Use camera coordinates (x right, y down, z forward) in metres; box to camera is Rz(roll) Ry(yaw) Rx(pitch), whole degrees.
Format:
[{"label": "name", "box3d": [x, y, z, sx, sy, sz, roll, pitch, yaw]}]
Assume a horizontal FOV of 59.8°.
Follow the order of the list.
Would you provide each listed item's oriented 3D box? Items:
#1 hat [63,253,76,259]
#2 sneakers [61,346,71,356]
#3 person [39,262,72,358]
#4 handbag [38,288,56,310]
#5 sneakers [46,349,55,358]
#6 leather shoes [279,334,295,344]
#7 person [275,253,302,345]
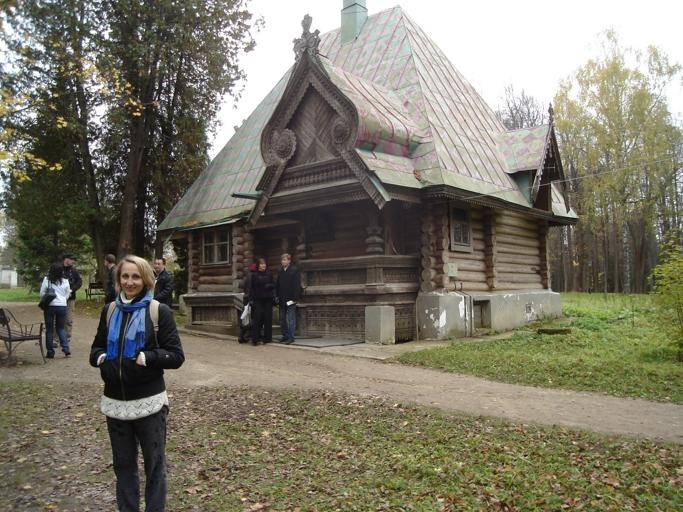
[{"label": "hat", "box3d": [-8.523, -0.002, 18.539, 0.294, 0.157, 0.404, 1, -2, -40]}, {"label": "sneakers", "box3d": [-7.319, 2.558, 15.787, 0.148, 0.124, 0.434, -29, 26, -30]}, {"label": "person", "box3d": [-7.582, 1.460, 15.722, 0.640, 2.472, 0.869, -4, 8, -20]}, {"label": "handbag", "box3d": [-7.616, 1.082, 15.405, 0.211, 0.564, 0.313, 32, 0, -31]}, {"label": "sneakers", "box3d": [-7.657, 2.582, 15.678, 0.228, 0.250, 0.165, 1, -5, 2]}, {"label": "leather shoes", "box3d": [-1.681, 2.561, 18.278, 0.225, 0.155, 0.381, -3, -16, 14]}, {"label": "person", "box3d": [-1.638, 1.306, 18.466, 0.733, 2.617, 1.033, -3, 8, -16]}]
